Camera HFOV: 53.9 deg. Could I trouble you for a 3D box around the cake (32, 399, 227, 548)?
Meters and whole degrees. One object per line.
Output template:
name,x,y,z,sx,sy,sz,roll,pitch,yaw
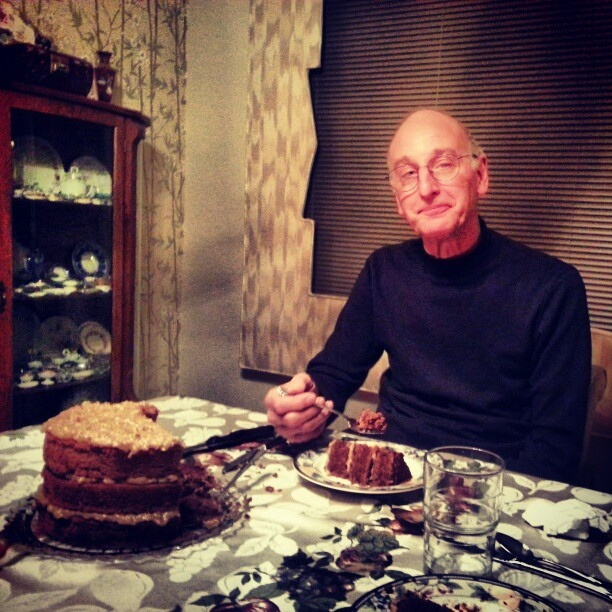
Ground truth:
cake,-0.313,0.294,1.068,0.234,0.093,0.225,6,16,-21

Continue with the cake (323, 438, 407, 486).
cake,0.128,0.291,1.184,0.097,0.035,0.093,7,-3,-38

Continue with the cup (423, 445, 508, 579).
cup,0.232,0.308,0.906,0.118,0.164,0.140,4,10,15

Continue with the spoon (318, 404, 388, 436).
spoon,0.126,0.313,1.553,0.179,0.031,0.090,24,30,-23

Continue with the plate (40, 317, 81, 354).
plate,-1.096,0.126,2.665,0.028,0.128,0.125,0,-3,18

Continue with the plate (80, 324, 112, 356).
plate,-1.003,0.159,2.863,0.030,0.133,0.130,-11,-2,42
